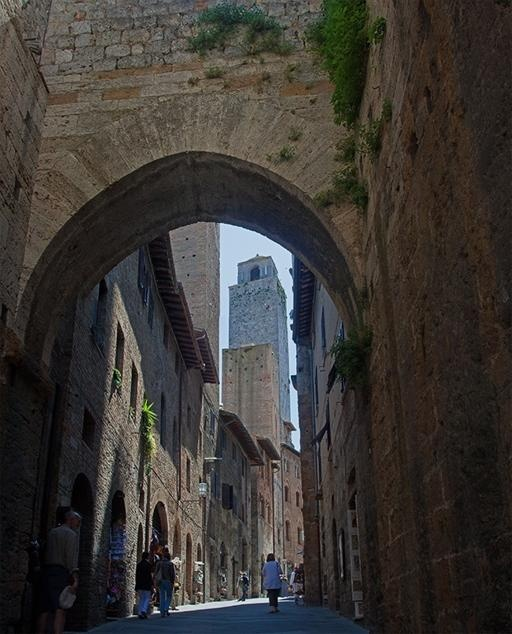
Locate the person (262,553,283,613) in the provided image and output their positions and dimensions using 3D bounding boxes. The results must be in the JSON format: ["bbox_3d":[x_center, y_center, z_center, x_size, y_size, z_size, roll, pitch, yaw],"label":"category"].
[{"bbox_3d":[0.321,5.359,11.927,0.284,1.276,0.336,-5,9,-7],"label":"person"}]

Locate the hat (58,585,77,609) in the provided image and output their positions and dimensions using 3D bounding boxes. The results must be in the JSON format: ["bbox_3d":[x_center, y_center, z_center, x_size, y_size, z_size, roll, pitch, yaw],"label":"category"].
[{"bbox_3d":[-1.684,2.493,5.182,0.128,0.189,0.194,8,-28,-18],"label":"hat"}]
